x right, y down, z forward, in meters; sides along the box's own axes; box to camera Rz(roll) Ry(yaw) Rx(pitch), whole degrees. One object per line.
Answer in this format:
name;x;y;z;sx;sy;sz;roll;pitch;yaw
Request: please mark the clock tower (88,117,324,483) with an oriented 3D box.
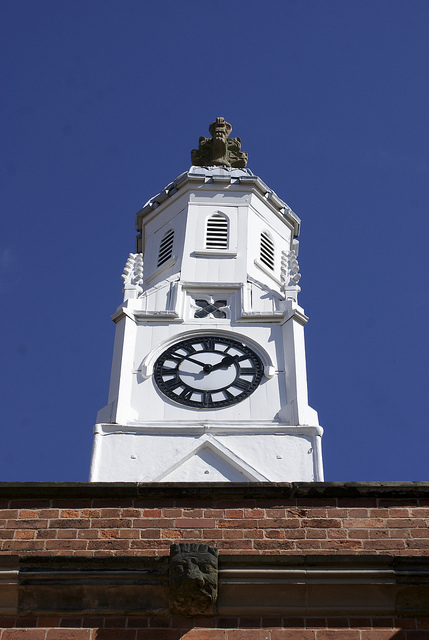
clock tower;0.005;-0.574;20.955;4.339;12.570;1.985;1;-49;5
